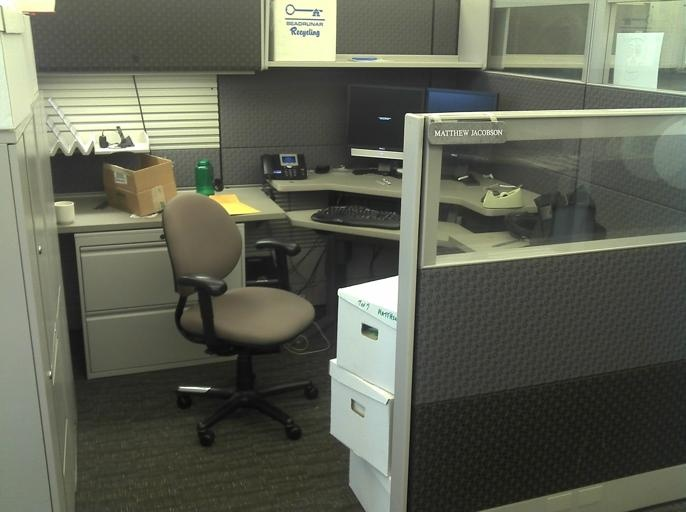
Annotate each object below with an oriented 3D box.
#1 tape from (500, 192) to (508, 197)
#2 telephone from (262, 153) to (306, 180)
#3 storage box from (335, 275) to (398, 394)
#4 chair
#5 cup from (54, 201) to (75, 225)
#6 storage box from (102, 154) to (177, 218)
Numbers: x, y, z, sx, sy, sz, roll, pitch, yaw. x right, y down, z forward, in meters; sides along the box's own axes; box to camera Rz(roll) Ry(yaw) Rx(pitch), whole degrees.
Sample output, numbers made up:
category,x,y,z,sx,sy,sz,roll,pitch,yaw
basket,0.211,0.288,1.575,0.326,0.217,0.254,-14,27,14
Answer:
category,x,y,z,sx,sy,sz,roll,pitch,yaw
tape,0.481,-0.184,1.704,0.016,0.004,0.015,-7,30,-7
telephone,-0.356,-0.563,3.603,0.251,0.168,0.178,-1,5,-9
storage box,0.076,0.262,2.153,0.344,0.257,0.345,8,15,14
chair,-0.485,0.277,2.759,0.726,1.081,0.663,-7,23,-14
cup,-1.449,-0.215,2.963,0.090,0.109,0.119,0,14,-13
storage box,-1.112,-0.406,3.150,0.378,0.206,0.362,5,27,3
